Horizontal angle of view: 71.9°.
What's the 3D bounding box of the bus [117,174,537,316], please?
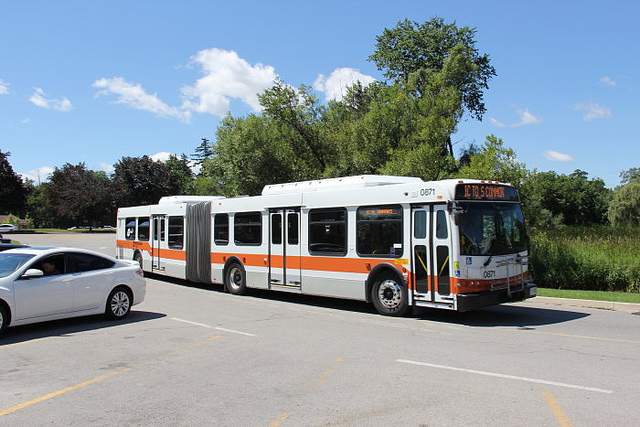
[{"bbox_3d":[-2.888,0.985,18.946,21.827,4.392,3.241,0,1,41],"label":"bus"}]
